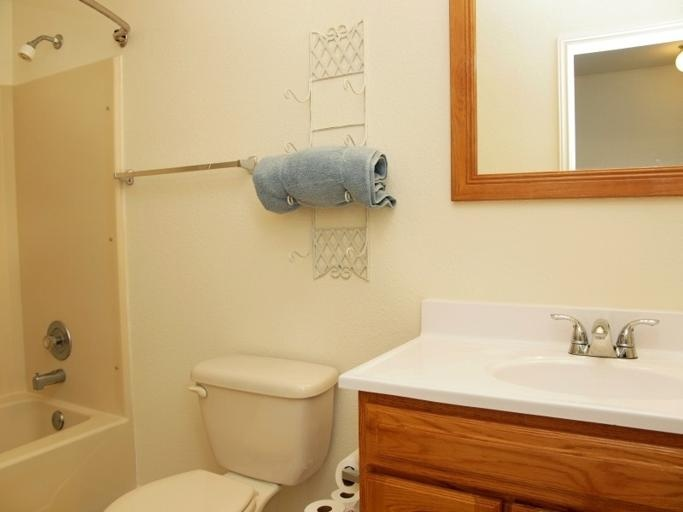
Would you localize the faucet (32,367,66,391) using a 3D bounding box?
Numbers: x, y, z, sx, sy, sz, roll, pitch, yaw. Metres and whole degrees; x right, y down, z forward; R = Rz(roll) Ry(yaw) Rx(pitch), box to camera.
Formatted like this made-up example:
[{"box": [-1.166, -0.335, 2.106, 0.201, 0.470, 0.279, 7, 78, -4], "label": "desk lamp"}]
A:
[{"box": [-1.341, 0.552, 2.495, 0.081, 0.077, 0.142, 6, 7, 30], "label": "faucet"}]

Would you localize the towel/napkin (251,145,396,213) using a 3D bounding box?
[{"box": [-0.071, -0.236, 1.865, 0.389, 0.158, 0.236, 0, 10, 27], "label": "towel/napkin"}]
